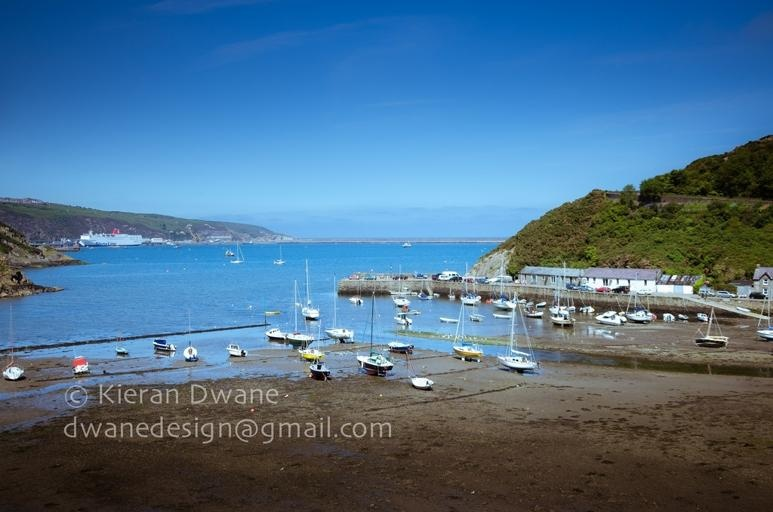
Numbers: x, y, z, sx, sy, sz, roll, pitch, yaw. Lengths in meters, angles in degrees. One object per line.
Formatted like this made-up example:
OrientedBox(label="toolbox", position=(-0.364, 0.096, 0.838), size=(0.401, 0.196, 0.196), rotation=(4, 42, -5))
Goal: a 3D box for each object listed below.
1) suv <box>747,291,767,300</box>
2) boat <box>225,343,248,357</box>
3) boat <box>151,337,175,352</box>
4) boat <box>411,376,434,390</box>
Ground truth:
OrientedBox(label="suv", position=(44.237, 4.643, 63.930), size=(1.222, 0.626, 1.972), rotation=(-4, -7, 44))
OrientedBox(label="boat", position=(-13.546, 8.406, 47.813), size=(0.880, 0.622, 2.246), rotation=(0, 3, -41))
OrientedBox(label="boat", position=(-21.133, 8.339, 50.377), size=(3.370, 0.875, 0.965), rotation=(7, -1, 24))
OrientedBox(label="boat", position=(2.479, 8.935, 37.560), size=(1.494, 0.604, 0.885), rotation=(5, 13, 26))
